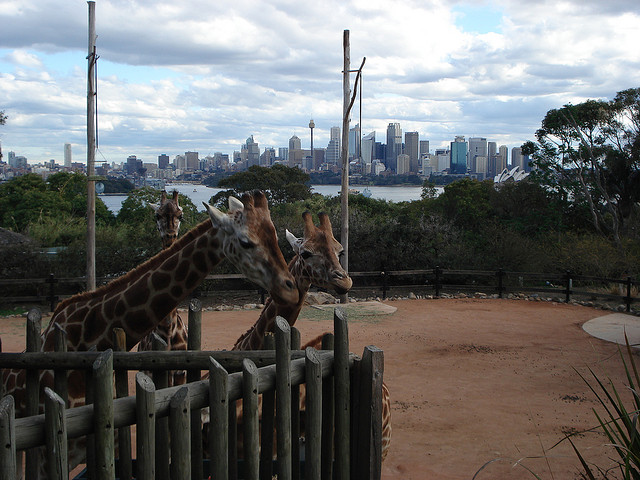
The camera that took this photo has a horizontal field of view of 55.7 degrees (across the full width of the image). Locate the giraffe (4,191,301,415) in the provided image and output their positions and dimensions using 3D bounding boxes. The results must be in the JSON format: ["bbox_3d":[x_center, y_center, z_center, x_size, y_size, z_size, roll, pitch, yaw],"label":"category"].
[{"bbox_3d":[-1.395,0.304,5.948,2.383,1.598,0.557,2,3,2],"label":"giraffe"}]
